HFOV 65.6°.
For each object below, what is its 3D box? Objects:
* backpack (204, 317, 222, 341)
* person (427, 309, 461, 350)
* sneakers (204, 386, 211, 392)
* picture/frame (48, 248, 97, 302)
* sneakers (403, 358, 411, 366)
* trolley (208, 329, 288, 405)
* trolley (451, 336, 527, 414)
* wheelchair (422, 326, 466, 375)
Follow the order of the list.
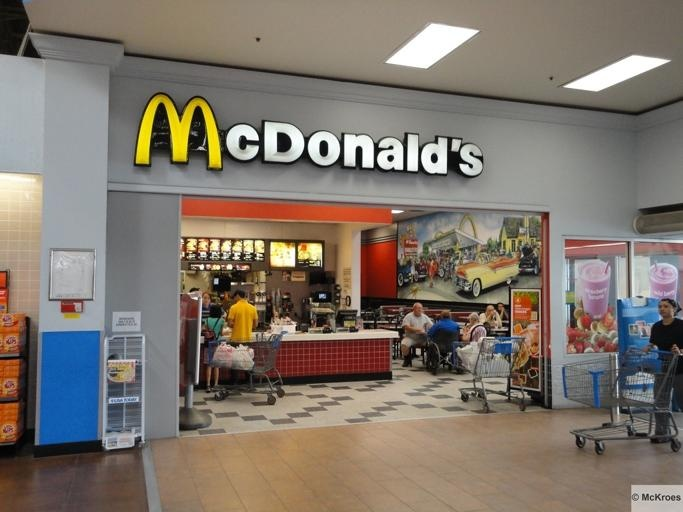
[{"bbox_3d":[-2.330,1.299,9.636,0.399,0.490,0.294,0,2,-2],"label":"backpack"},{"bbox_3d":[2.380,1.692,12.190,0.775,1.037,0.542,2,4,2],"label":"person"},{"bbox_3d":[-2.406,2.372,9.512,0.095,0.129,0.308,1,-8,-9],"label":"sneakers"},{"bbox_3d":[-3.178,0.221,6.190,0.568,0.756,0.071,1,-6,-22],"label":"picture/frame"},{"bbox_3d":[1.554,2.498,12.610,0.207,0.179,0.273,0,-2,6],"label":"sneakers"},{"bbox_3d":[-1.487,1.996,9.538,1.340,1.442,0.867,3,-6,7],"label":"trolley"},{"bbox_3d":[2.593,1.873,9.080,0.699,1.197,1.270,2,-4,-5],"label":"trolley"},{"bbox_3d":[2.274,2.089,11.713,0.713,1.071,0.964,0,-11,-9],"label":"wheelchair"}]
